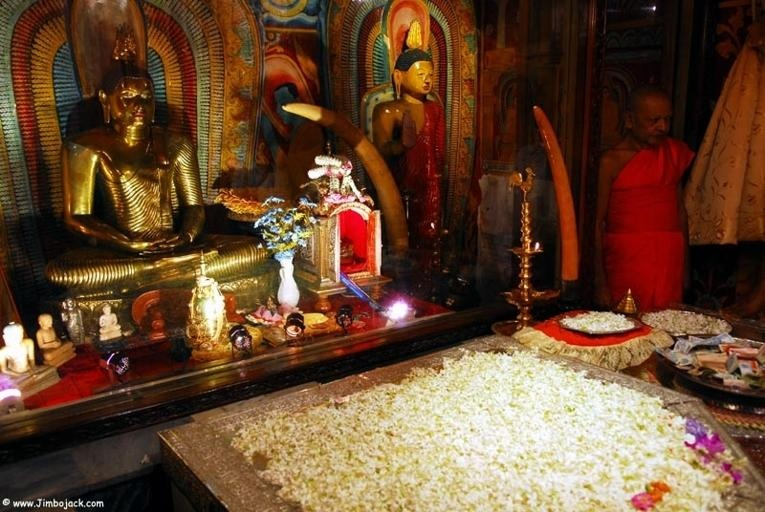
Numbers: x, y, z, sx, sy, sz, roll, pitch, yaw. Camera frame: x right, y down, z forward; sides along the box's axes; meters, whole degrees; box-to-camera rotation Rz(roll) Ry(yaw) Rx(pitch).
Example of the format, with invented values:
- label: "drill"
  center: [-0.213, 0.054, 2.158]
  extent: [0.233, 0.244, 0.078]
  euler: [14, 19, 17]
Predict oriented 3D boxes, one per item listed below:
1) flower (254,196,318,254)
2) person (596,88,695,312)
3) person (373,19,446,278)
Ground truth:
- label: "flower"
  center: [-0.581, -0.159, 3.440]
  extent: [0.337, 0.385, 0.387]
  euler: [1, 0, 13]
- label: "person"
  center: [1.713, -0.367, 3.619]
  extent: [0.588, 1.425, 0.266]
  euler: [0, 13, 17]
- label: "person"
  center: [0.190, -0.718, 3.671]
  extent: [0.509, 1.606, 0.147]
  euler: [-10, 14, -26]
